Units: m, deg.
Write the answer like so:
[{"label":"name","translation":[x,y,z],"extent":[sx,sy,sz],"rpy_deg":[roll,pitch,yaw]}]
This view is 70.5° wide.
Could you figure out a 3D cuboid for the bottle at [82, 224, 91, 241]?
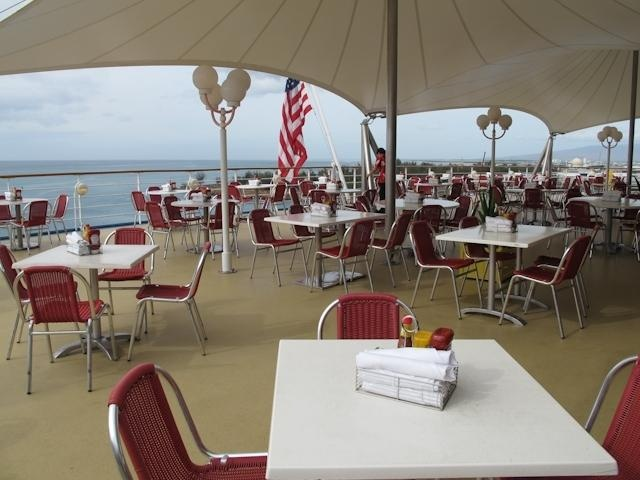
[{"label":"bottle","translation":[-2.126,-0.076,4.129],"extent":[0.066,0.162,0.263],"rpy_deg":[-6,13,-26]}]

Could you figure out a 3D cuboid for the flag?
[{"label":"flag","translation":[-0.886,-4.213,16.249],"extent":[1.084,3.030,0.720],"rpy_deg":[-1,12,-4]}]

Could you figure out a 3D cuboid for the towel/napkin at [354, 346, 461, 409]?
[{"label":"towel/napkin","translation":[0.341,0.499,1.759],"extent":[0.288,0.127,0.226],"rpy_deg":[5,-2,6]}]
